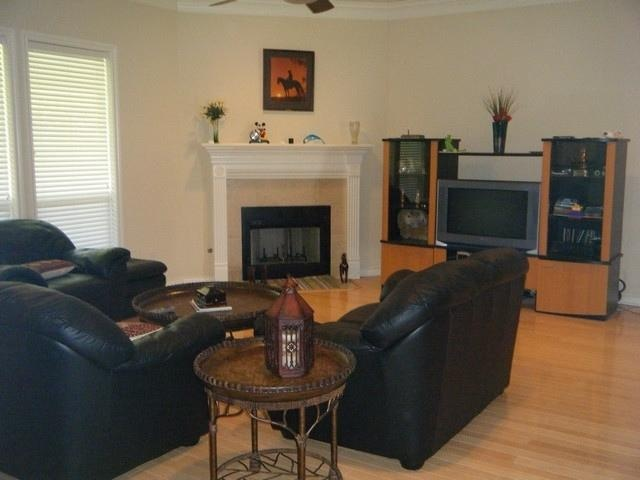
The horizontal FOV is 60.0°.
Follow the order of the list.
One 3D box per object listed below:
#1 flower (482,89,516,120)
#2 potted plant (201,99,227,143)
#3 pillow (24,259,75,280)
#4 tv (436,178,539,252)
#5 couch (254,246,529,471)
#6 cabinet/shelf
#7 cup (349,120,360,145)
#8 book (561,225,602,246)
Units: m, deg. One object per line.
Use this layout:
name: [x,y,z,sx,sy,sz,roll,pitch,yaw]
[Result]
flower: [2.085,-1.552,6.385,0.332,0.412,0.585,1,6,16]
potted plant: [-1.267,-1.422,6.653,0.275,0.513,0.268,-2,7,-11]
pillow: [-2.507,0.272,5.125,0.254,0.159,0.461,2,7,30]
tv: [2.016,-0.359,6.422,1.170,0.815,0.637,7,24,31]
couch: [0.668,0.645,3.920,1.108,1.212,1.749,7,12,39]
cabinet/shelf: [1.783,-0.320,6.717,0.574,1.517,2.045,19,0,-16]
cup: [0.433,-1.324,6.900,0.104,0.277,0.219,0,6,7]
book: [2.746,-0.042,5.819,0.373,0.165,0.170,2,7,25]
